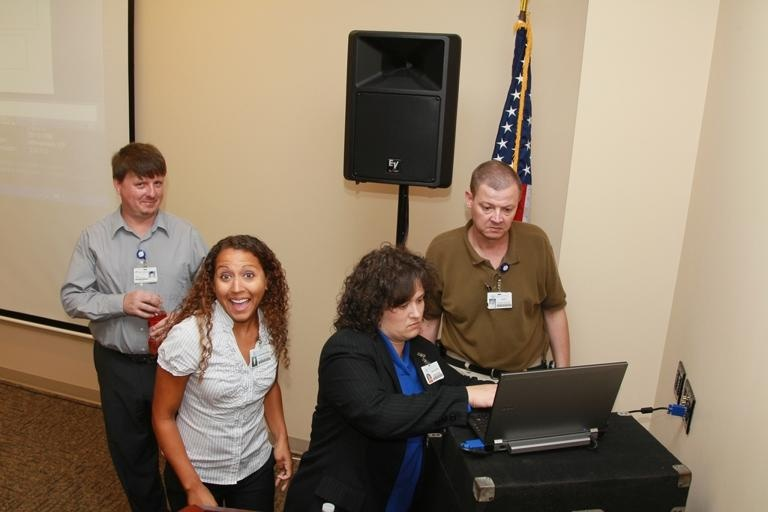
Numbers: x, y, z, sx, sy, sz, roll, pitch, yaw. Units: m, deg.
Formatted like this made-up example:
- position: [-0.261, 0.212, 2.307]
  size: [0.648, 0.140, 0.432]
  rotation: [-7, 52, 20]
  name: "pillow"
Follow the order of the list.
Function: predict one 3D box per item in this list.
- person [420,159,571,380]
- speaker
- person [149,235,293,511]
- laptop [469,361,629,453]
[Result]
- position: [0.586, 0.453, 3.154]
  size: [0.701, 1.966, 0.481]
  rotation: [0, 21, 12]
  name: "person"
- position: [0.082, -0.706, 3.156]
  size: [0.555, 0.862, 0.461]
  rotation: [2, -9, 7]
  name: "speaker"
- position: [-0.687, 0.613, 2.585]
  size: [0.622, 1.356, 0.431]
  rotation: [-6, 19, -25]
  name: "person"
- position: [0.653, 0.588, 2.252]
  size: [0.417, 0.293, 0.412]
  rotation: [-1, 12, -9]
  name: "laptop"
